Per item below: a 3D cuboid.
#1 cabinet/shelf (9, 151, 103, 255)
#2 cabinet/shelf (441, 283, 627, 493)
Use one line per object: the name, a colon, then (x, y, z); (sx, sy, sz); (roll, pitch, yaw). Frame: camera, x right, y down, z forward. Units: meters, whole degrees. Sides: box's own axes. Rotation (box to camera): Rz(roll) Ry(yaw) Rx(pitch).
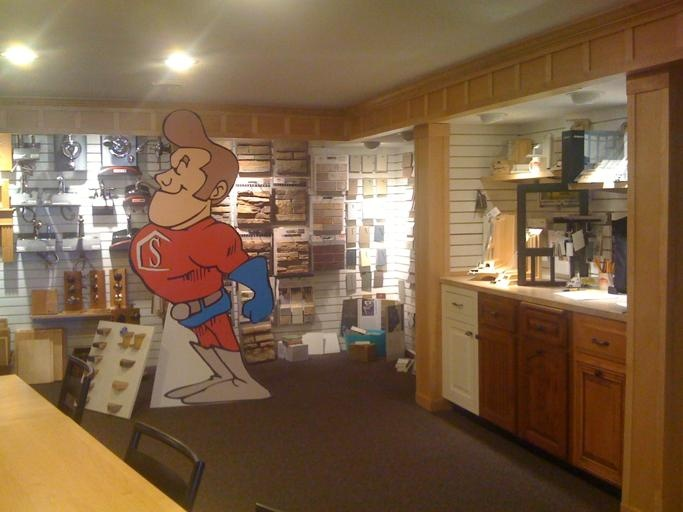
cabinet/shelf: (-3.561, -0.689, 6.486); (0.965, 1.257, 0.401); (-4, 9, -18)
cabinet/shelf: (1.615, 1.105, 4.306); (0.531, 0.910, 1.607); (3, 0, -20)
